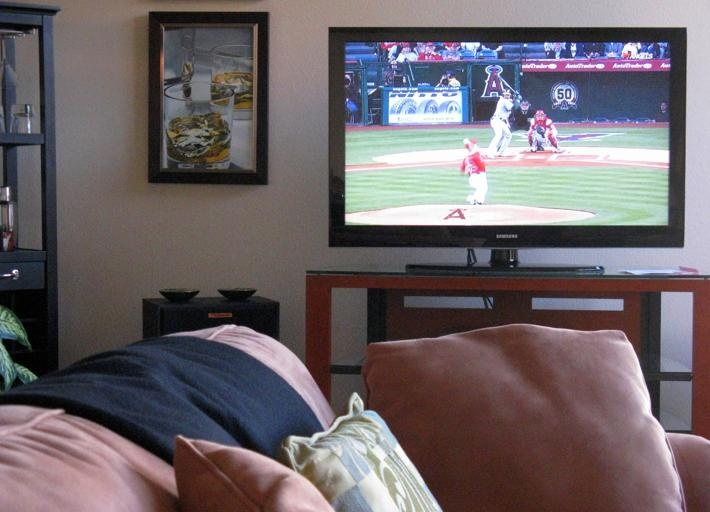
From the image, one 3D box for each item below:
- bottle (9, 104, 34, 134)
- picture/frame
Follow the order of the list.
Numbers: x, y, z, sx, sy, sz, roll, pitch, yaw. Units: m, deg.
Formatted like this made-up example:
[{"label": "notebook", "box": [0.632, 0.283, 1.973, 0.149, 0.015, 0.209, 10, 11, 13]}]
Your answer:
[{"label": "bottle", "box": [-1.524, -0.621, 3.094, 0.108, 0.120, 0.087, 1, 8, -5]}, {"label": "picture/frame", "box": [-0.719, -0.807, 3.357, 0.841, 1.163, 0.083, 0, 1, 0]}]
